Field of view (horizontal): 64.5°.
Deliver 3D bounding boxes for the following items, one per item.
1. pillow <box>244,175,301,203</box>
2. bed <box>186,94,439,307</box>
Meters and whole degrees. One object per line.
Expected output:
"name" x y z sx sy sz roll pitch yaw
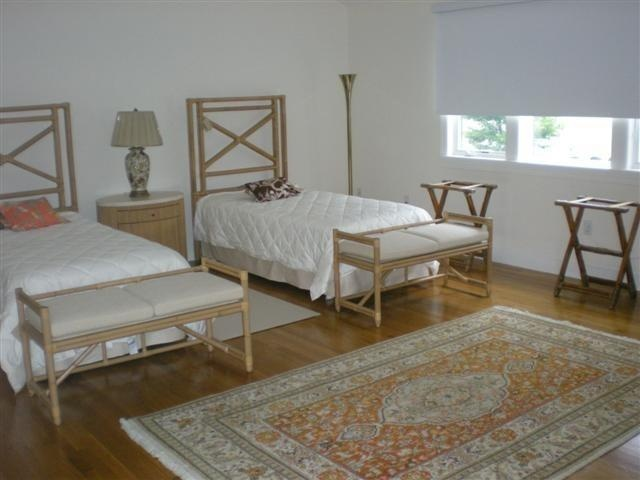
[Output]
"pillow" -0.484 -0.520 5.294 0.351 0.096 0.359 -10 25 -27
"bed" -0.582 -0.431 5.133 1.893 1.996 2.736 -15 21 -41
